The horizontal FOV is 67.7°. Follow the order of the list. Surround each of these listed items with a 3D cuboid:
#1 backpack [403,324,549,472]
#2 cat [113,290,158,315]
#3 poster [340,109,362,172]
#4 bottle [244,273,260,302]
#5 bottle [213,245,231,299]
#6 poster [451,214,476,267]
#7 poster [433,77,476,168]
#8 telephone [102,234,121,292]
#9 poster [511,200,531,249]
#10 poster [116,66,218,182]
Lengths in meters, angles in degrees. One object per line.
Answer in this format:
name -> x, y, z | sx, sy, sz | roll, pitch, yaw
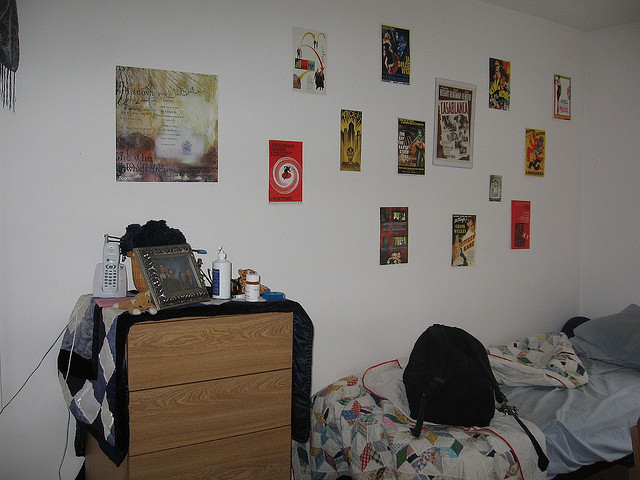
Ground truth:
backpack -> 0.743, 0.799, 2.774 | 0.591, 0.430, 0.434 | -2, 10, -14
cat -> -0.885, 0.289, 2.233 | 0.262, 0.089, 0.111 | 6, 11, 25
poster -> 0.203, -0.644, 3.092 | 0.151, 0.377, 0.076 | -1, 10, -9
bottle -> -0.349, 0.243, 2.434 | 0.077, 0.131, 0.107 | -1, 10, -10
bottle -> -0.505, 0.172, 2.437 | 0.092, 0.259, 0.077 | -1, 10, -10
poster -> 1.053, 0.004, 3.462 | 0.213, 0.368, 0.047 | -4, 10, -23
poster -> 0.965, -0.831, 3.388 | 0.377, 0.606, 0.075 | -3, 10, -23
telephone -> -1.075, 0.133, 2.438 | 0.097, 0.384, 0.052 | 0, -31, -21
poster -> 1.556, -0.120, 3.667 | 0.198, 0.370, 0.053 | -4, 10, -23
poster -> -0.891, -0.658, 2.673 | 0.569, 0.733, 0.030 | -3, 3, -16
